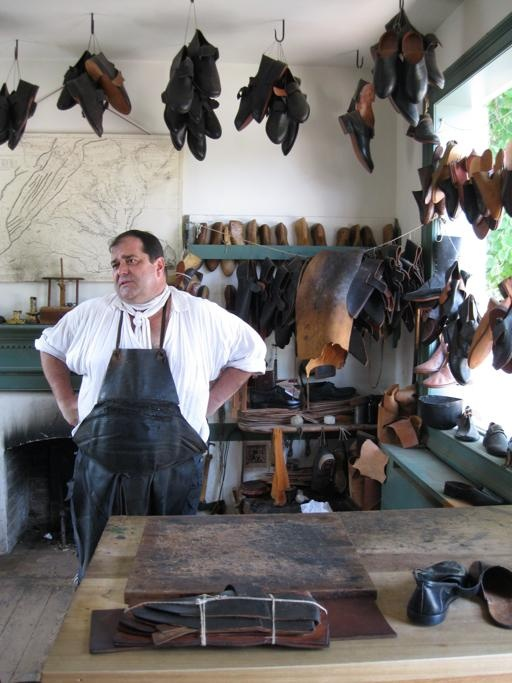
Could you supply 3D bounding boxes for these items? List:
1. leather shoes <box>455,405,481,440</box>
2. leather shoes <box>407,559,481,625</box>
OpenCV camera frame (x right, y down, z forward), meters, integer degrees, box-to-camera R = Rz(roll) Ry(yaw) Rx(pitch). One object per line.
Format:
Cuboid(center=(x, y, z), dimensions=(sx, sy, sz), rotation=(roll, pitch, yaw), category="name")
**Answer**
Cuboid(center=(0.932, 0.364, 2.619), dimensions=(0.099, 0.099, 0.208), rotation=(8, 13, 22), category="leather shoes")
Cuboid(center=(0.374, 0.478, 1.194), dimensions=(0.082, 0.064, 0.155), rotation=(2, 10, 33), category="leather shoes")
